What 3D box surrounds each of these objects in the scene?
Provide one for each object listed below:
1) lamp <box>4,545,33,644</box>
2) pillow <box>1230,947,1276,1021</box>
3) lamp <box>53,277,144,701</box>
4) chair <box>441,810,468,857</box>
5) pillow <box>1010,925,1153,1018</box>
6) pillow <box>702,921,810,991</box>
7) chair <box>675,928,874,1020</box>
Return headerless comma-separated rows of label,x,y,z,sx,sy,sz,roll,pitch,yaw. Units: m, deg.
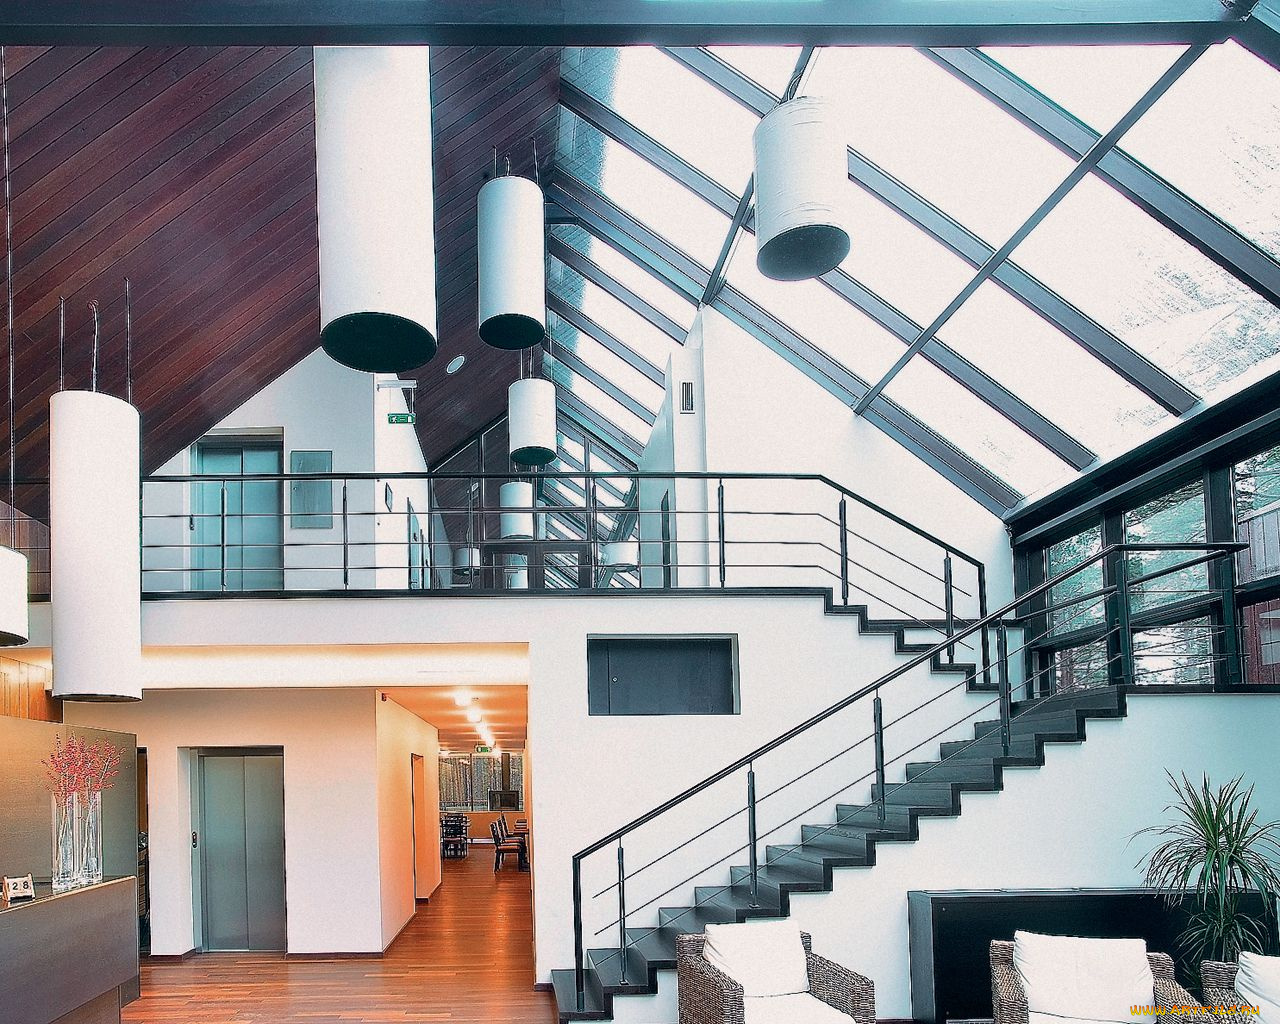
lamp,-3.712,0.470,9.329,0.152,0.591,1.164,4,-15,-21
pillow,3.450,2.655,8.739,0.207,0.361,0.399,0,-14,-3
lamp,-3.478,0.238,9.999,0.609,1.842,0.520,4,-14,-20
chair,-2.939,5.269,25.263,0.432,0.848,0.470,0,-8,-6
pillow,2.588,2.725,9.146,0.488,0.568,0.216,2,-24,7
pillow,0.713,2.689,9.462,0.475,0.411,0.118,3,-23,-6
chair,0.803,2.801,9.409,1.157,0.520,0.647,-1,-14,2
